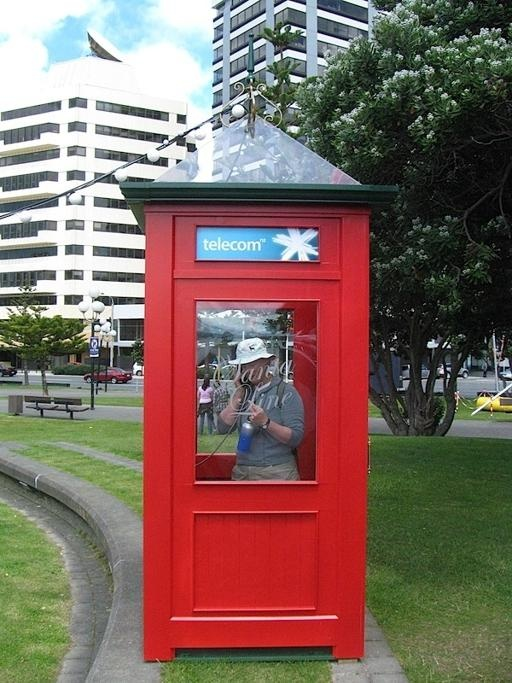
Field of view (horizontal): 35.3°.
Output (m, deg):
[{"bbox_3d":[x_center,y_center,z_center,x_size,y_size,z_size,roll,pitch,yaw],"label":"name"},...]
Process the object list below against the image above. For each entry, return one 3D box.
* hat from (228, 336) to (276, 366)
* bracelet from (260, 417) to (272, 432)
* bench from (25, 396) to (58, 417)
[{"bbox_3d":[-0.028,0.059,4.633,0.189,0.090,0.170,-8,5,17],"label":"hat"},{"bbox_3d":[0.060,0.478,4.661,0.052,0.076,0.070,20,5,10],"label":"bracelet"},{"bbox_3d":[-6.209,1.866,23.253,0.645,0.383,0.285,3,8,30],"label":"bench"}]
